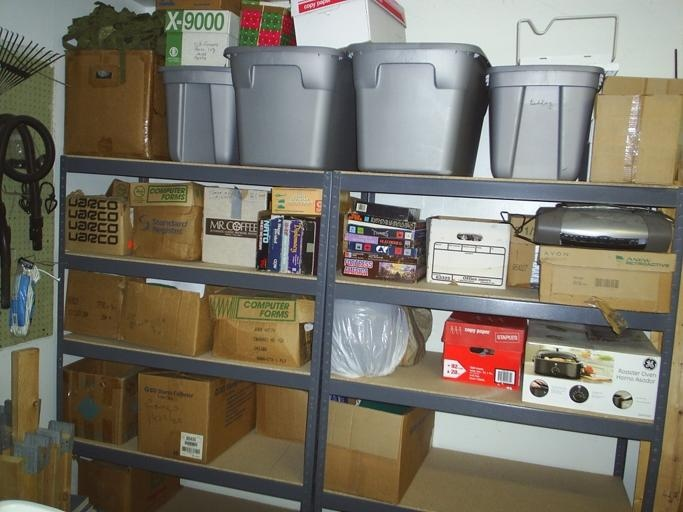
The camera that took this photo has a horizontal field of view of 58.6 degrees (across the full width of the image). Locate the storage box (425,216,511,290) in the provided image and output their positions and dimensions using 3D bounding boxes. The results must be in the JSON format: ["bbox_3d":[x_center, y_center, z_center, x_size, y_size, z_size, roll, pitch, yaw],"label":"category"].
[{"bbox_3d":[0.507,-0.030,2.929,0.424,0.341,0.310,8,4,-28],"label":"storage box"}]

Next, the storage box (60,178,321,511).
[{"bbox_3d":[-0.685,0.307,3.512,1.971,1.392,1.104,4,4,17],"label":"storage box"}]

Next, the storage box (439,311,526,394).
[{"bbox_3d":[0.659,0.481,2.997,0.463,0.280,0.474,10,-7,-24],"label":"storage box"}]

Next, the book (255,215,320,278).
[{"bbox_3d":[-0.240,-0.044,2.856,0.252,0.241,0.086,4,4,17],"label":"book"}]

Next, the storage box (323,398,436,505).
[{"bbox_3d":[0.157,0.886,2.935,0.420,0.282,0.430,2,1,21],"label":"storage box"}]

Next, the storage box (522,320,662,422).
[{"bbox_3d":[1.146,0.394,2.935,0.627,0.348,0.661,5,26,20],"label":"storage box"}]
